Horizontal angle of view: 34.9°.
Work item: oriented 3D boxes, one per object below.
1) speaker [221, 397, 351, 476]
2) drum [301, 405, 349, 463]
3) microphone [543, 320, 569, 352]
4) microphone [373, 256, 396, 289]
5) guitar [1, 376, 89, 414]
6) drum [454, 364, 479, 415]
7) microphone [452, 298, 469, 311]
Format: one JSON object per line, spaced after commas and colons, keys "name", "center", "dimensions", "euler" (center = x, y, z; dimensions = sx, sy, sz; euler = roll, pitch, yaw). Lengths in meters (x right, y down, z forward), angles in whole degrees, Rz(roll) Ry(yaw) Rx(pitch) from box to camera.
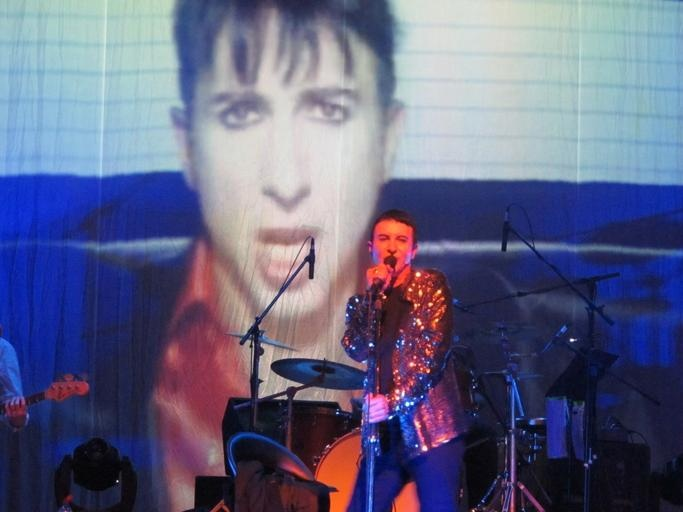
{"name": "speaker", "center": [-0.382, 1.348, 8.502], "dimensions": [0.601, 0.254, 0.650], "euler": [9, -6, -19]}
{"name": "drum", "center": [-0.129, 1.388, 8.425], "dimensions": [0.289, 0.415, 0.353], "euler": [1, -4, 4]}
{"name": "microphone", "center": [1.768, 0.659, 8.957], "dimensions": [0.114, 0.127, 0.445], "euler": [22, 29, 17]}
{"name": "microphone", "center": [0.950, 1.175, 8.196], "dimensions": [0.186, 0.069, 0.263], "euler": [2, -16, -12]}
{"name": "guitar", "center": [-2.467, 1.161, 9.024], "dimensions": [0.712, 0.355, 0.369], "euler": [1, -2, -10]}
{"name": "drum", "center": [0.931, 1.012, 8.116], "dimensions": [0.086, 0.354, 0.248], "euler": [-10, -1, 17]}
{"name": "microphone", "center": [0.992, 0.420, 9.122], "dimensions": [0.072, 0.099, 0.493], "euler": [13, -2, 15]}
